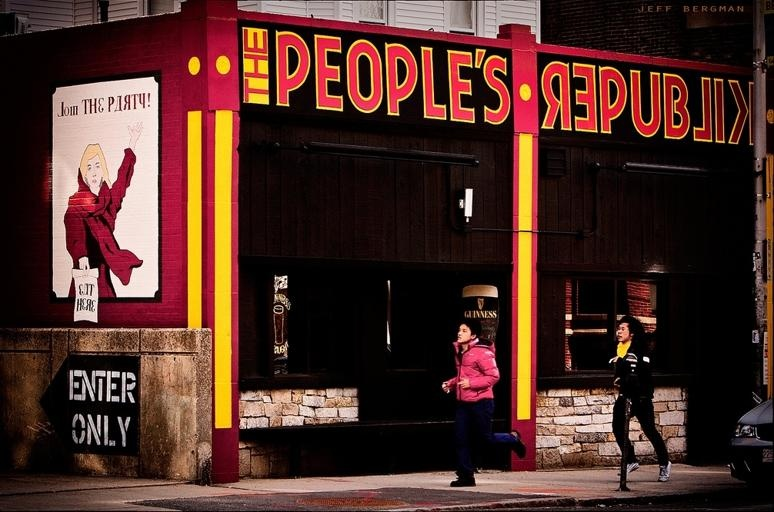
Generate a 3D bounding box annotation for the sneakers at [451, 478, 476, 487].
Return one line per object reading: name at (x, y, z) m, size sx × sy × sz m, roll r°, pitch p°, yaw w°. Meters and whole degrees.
sneakers at (1.277, 3.857, 20.584) m, size 0.291 × 0.105 × 0.182 m, roll 1°, pitch -3°, yaw -12°
